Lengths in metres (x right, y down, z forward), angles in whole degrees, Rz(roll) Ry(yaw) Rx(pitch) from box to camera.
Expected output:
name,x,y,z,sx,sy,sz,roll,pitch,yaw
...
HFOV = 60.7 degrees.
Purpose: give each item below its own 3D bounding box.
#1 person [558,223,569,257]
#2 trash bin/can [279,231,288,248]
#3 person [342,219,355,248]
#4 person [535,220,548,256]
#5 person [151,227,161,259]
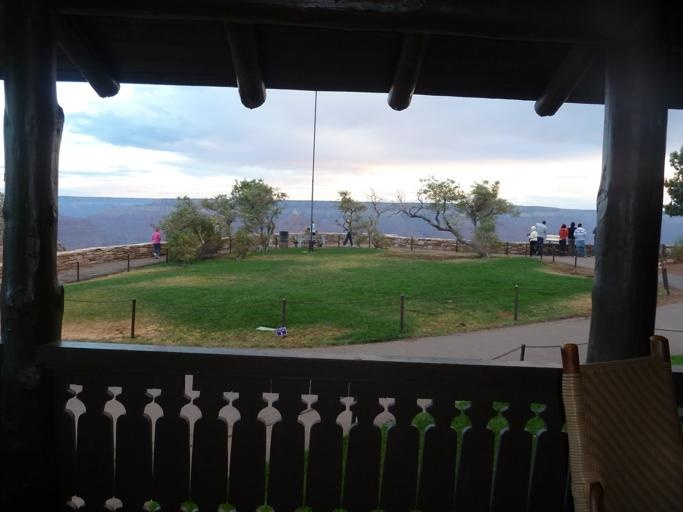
name,x,y,z,sx,sy,sz,roll,pitch,yaw
person,9.476,-0.725,25.020,0.382,1.393,1.617,1,7,20
trash bin/can,-3.181,-0.925,32.201,0.738,0.983,0.748,-1,5,-12
person,0.355,-1.375,33.901,0.513,1.416,1.292,-1,6,1
person,8.675,-0.811,25.568,0.413,1.589,2.090,1,7,18
person,-8.435,-0.587,26.626,0.348,1.280,2.072,-3,7,-17
